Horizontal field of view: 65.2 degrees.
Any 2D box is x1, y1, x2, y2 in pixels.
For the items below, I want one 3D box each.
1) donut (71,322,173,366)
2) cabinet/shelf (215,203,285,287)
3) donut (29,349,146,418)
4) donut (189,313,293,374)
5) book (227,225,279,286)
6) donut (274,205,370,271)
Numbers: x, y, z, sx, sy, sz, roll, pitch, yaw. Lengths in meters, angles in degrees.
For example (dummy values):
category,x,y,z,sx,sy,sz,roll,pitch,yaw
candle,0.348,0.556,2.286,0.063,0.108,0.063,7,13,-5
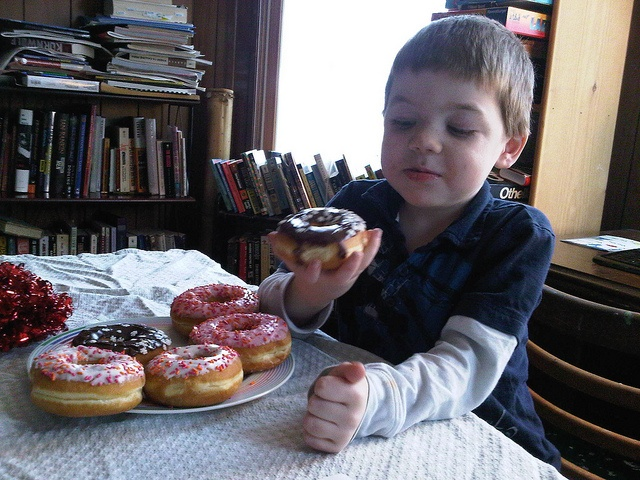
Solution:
category,x,y,z,sx,sy,sz,roll,pitch,yaw
donut,-0.334,0.189,0.920,0.109,0.034,0.104,5,15,16
cabinet/shelf,-0.376,0.024,2.917,0.486,0.567,0.418,5,1,-3
donut,-0.378,0.221,0.805,0.169,0.065,0.171,14,4,33
donut,-0.155,0.191,0.958,0.191,0.062,0.174,4,10,18
book,-0.361,0.090,2.817,0.314,0.361,0.289,0,7,-7
donut,0.006,-0.016,0.964,0.172,0.056,0.164,-22,33,-34
